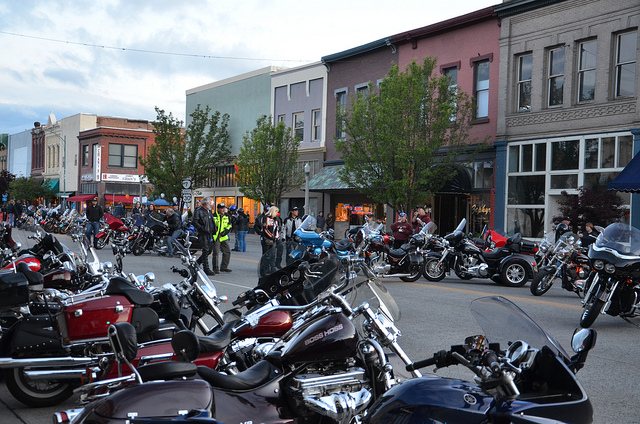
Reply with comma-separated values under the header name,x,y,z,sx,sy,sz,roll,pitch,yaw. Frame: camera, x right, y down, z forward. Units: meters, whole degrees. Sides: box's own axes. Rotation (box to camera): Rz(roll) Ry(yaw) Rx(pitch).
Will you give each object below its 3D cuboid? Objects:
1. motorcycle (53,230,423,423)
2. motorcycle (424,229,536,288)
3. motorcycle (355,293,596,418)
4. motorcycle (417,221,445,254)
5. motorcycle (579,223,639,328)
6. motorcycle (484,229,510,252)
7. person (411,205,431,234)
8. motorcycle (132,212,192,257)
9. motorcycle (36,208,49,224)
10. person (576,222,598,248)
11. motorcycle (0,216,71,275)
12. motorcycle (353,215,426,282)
name,x,y,z,sx,sy,sz,roll,pitch,yaw
motorcycle,-0.611,1.177,4.760,3.047,1.722,1.560,-6,7,-27
motorcycle,4.874,1.519,16.396,3.165,1.616,1.606,4,-5,12
motorcycle,1.164,0.942,3.820,1.385,0.799,0.944,-6,-1,-13
motorcycle,3.644,0.648,17.416,0.678,0.767,1.225,-17,-3,24
motorcycle,5.553,1.202,10.030,1.366,1.347,0.632,1,2,-13
motorcycle,5.987,0.947,17.436,1.118,0.526,0.664,2,1,-36
person,3.754,0.236,19.558,0.603,0.671,1.201,-1,-10,15
motorcycle,-6.420,0.934,21.859,1.232,1.723,2.975,1,-2,42
motorcycle,-19.275,0.230,36.579,0.651,1.042,0.629,14,-10,-29
person,8.259,0.698,16.330,0.502,0.495,0.845,2,16,9
motorcycle,-6.755,0.671,12.648,1.596,0.978,0.996,-9,8,-23
motorcycle,1.913,1.198,15.782,2.609,1.665,1.360,2,-2,0
